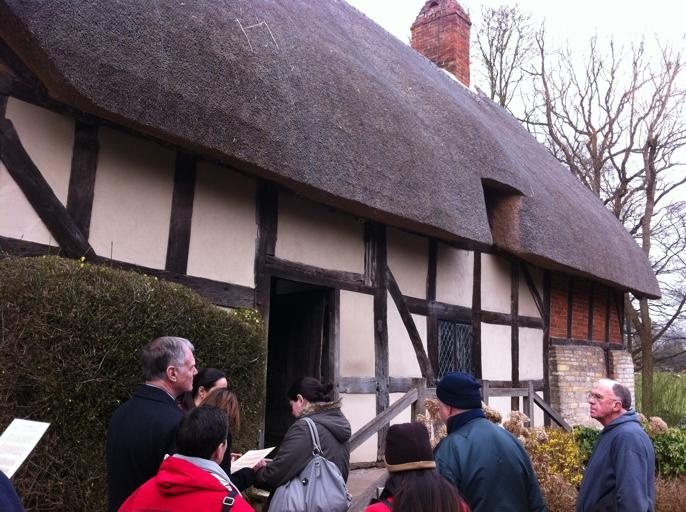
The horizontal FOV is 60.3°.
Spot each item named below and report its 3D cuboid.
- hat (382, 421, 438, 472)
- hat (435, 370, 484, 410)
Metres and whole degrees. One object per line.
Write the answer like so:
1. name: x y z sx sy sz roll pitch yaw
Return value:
1. hat: 0.342 0.972 3.008 0.201 0.208 0.252 3 -22 -9
2. hat: 0.734 0.829 3.682 0.232 0.161 0.206 19 6 10
